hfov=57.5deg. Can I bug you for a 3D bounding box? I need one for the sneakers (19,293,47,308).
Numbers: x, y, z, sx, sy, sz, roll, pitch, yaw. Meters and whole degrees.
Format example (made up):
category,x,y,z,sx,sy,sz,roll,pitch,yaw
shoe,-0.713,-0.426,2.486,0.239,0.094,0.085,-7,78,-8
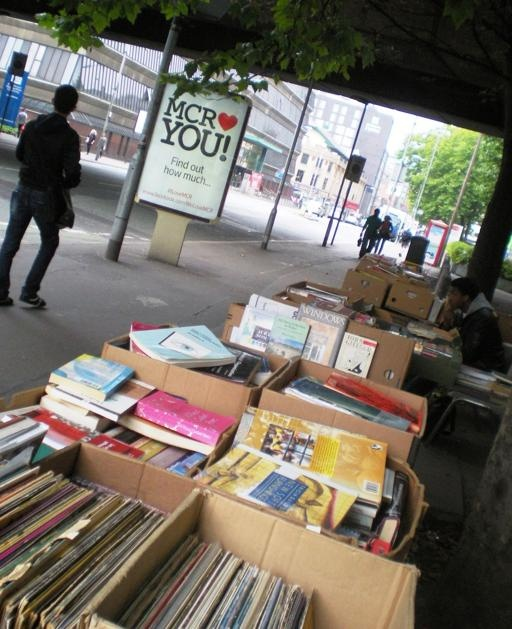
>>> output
category,x,y,z,sx,sy,sz,roll,pitch,yaw
sneakers,-2.734,-0.141,5.709,0.364,0.158,0.125,5,51,-49
